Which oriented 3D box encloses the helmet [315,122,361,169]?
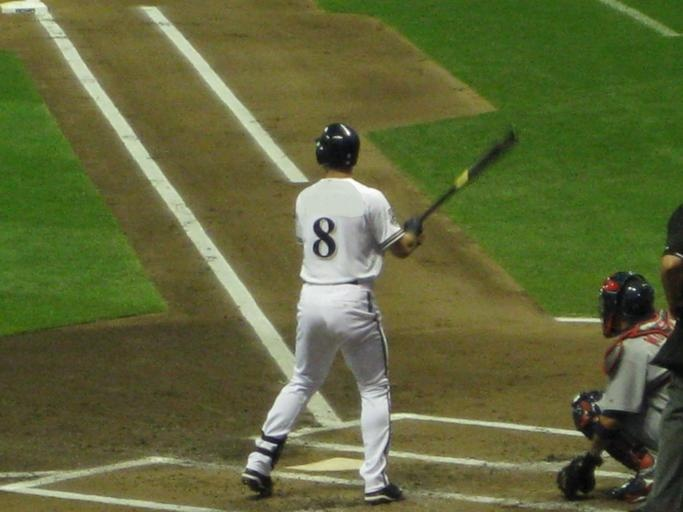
[{"bbox_3d":[0.068,-1.171,18.106,0.410,0.459,0.522,-20,38,-40],"label":"helmet"}]

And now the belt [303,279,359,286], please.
[{"bbox_3d":[-0.101,0.294,17.910,0.615,0.043,0.113,1,12,16],"label":"belt"}]

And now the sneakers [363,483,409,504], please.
[{"bbox_3d":[0.482,2.566,17.789,0.485,0.211,0.166,-7,21,-12],"label":"sneakers"}]

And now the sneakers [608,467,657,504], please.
[{"bbox_3d":[3.183,2.471,17.851,0.256,0.580,0.224,29,40,-37],"label":"sneakers"}]
